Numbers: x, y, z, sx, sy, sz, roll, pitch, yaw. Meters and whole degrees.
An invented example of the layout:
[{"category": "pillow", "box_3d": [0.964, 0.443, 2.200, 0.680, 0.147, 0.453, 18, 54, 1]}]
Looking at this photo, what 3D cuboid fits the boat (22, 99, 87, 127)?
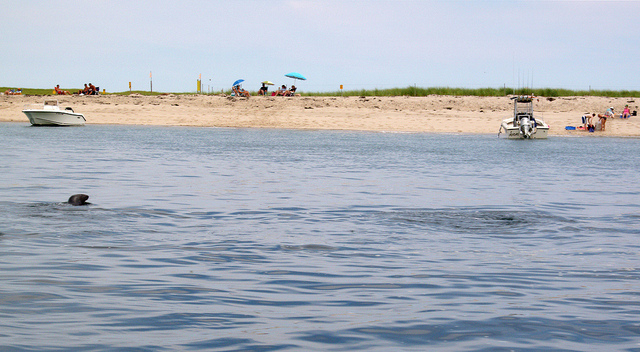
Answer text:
[{"category": "boat", "box_3d": [-18.044, -4.200, 62.875, 2.616, 1.199, 3.939, 7, 6, 36]}]
